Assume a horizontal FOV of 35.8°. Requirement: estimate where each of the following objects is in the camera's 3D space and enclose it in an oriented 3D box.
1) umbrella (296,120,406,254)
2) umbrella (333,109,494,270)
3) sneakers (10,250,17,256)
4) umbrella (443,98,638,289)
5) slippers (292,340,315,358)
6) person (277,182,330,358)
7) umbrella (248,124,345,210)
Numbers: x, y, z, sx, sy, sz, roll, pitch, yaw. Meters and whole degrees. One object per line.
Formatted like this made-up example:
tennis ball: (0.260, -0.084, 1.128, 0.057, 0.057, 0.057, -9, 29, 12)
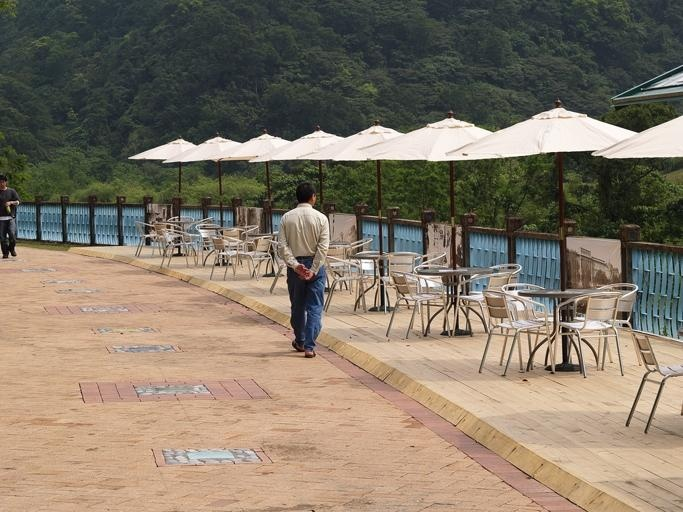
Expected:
umbrella: (-0.379, -1.452, 18.554, 1.901, 1.728, 1.768, -5, 20, 0)
umbrella: (0.457, -0.929, 15.358, 2.098, 1.815, 2.042, 0, 4, 28)
sneakers: (-8.665, -0.078, 28.032, 0.129, 0.148, 0.212, 0, -3, -15)
umbrella: (2.382, -0.717, 12.913, 2.103, 2.397, 1.649, 3, 9, 36)
slippers: (-0.525, 1.286, 14.343, 0.146, 0.162, 0.408, -6, 17, -23)
person: (-0.504, 0.198, 14.125, 0.659, 2.338, 0.668, -3, 8, -5)
umbrella: (-0.797, -1.890, 20.687, 1.423, 0.960, 1.407, -1, 4, 30)
